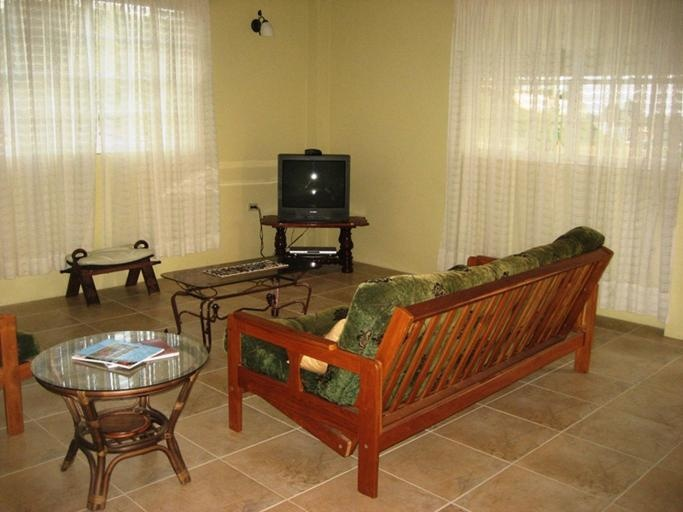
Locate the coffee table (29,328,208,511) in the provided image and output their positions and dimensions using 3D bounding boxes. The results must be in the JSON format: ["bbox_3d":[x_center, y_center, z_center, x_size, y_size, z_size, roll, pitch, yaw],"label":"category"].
[{"bbox_3d":[-1.072,0.741,2.848,0.924,0.599,0.844,4,15,3],"label":"coffee table"}]

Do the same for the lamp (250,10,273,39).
[{"bbox_3d":[-0.914,-2.639,6.229,0.248,0.349,0.615,-3,14,-7],"label":"lamp"}]

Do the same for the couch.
[{"bbox_3d":[0.577,0.436,3.644,1.400,0.839,2.370,6,12,42],"label":"couch"}]
